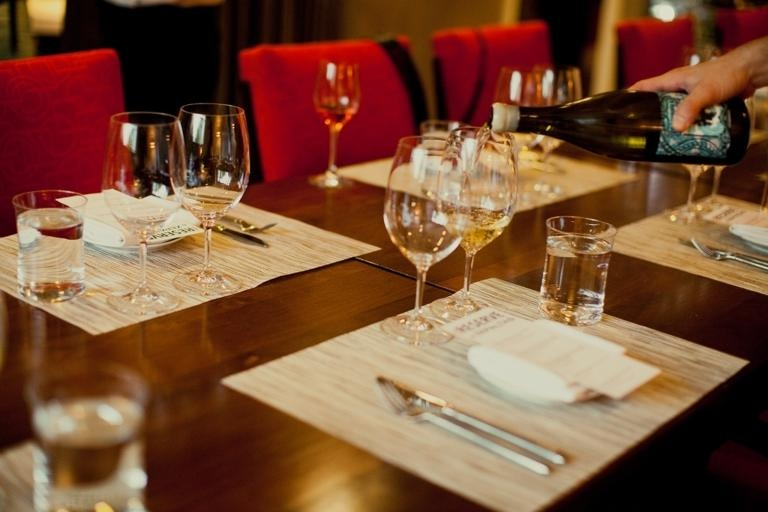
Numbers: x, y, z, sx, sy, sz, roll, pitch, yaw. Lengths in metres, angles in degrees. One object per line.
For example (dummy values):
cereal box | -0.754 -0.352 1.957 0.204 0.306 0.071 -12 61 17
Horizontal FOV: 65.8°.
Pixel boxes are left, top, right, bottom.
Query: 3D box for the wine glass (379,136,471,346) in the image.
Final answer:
wine glass | 0.055 -0.038 0.887 0.118 0.275 0.220 1 22 5

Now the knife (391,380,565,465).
knife | 0.111 0.197 0.693 0.139 0.019 0.029 21 23 28

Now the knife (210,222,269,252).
knife | -0.275 -0.035 1.119 0.151 0.012 0.022 16 54 26

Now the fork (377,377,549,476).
fork | 0.067 0.180 0.719 0.250 0.026 0.067 20 16 31

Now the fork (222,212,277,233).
fork | -0.282 -0.080 1.189 0.174 0.030 0.036 14 22 41
